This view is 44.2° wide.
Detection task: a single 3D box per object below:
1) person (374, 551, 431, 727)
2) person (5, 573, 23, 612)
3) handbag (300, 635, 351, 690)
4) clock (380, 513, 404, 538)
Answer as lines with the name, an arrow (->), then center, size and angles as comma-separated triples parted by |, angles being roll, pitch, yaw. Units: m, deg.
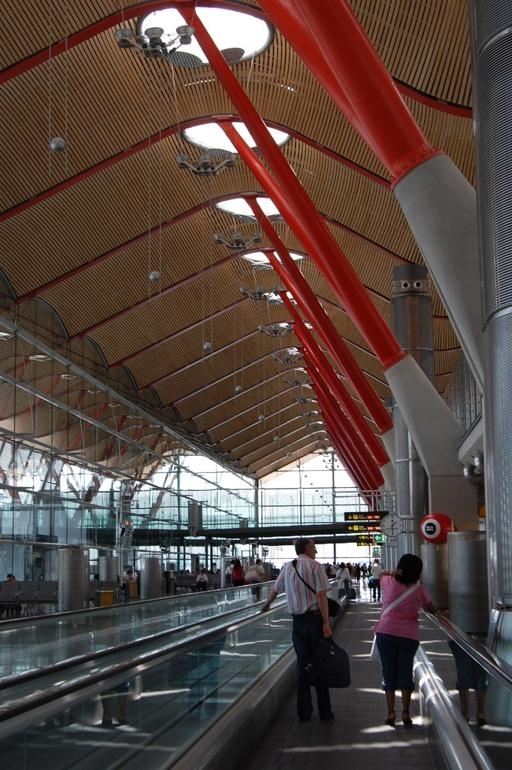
person -> 1.246, 2.105, 5.200 | 0.502, 1.339, 0.496 | -7, -13, 12
person -> -8.391, 7.213, 21.725 | 0.522, 1.313, 2.504 | 1, -15, -24
handbag -> 0.573, 2.296, 5.153 | 0.368, 0.381, 0.240 | -8, -13, 13
clock -> 4.491, 4.629, 20.691 | 0.665, 0.720, 1.027 | -7, -14, 9
